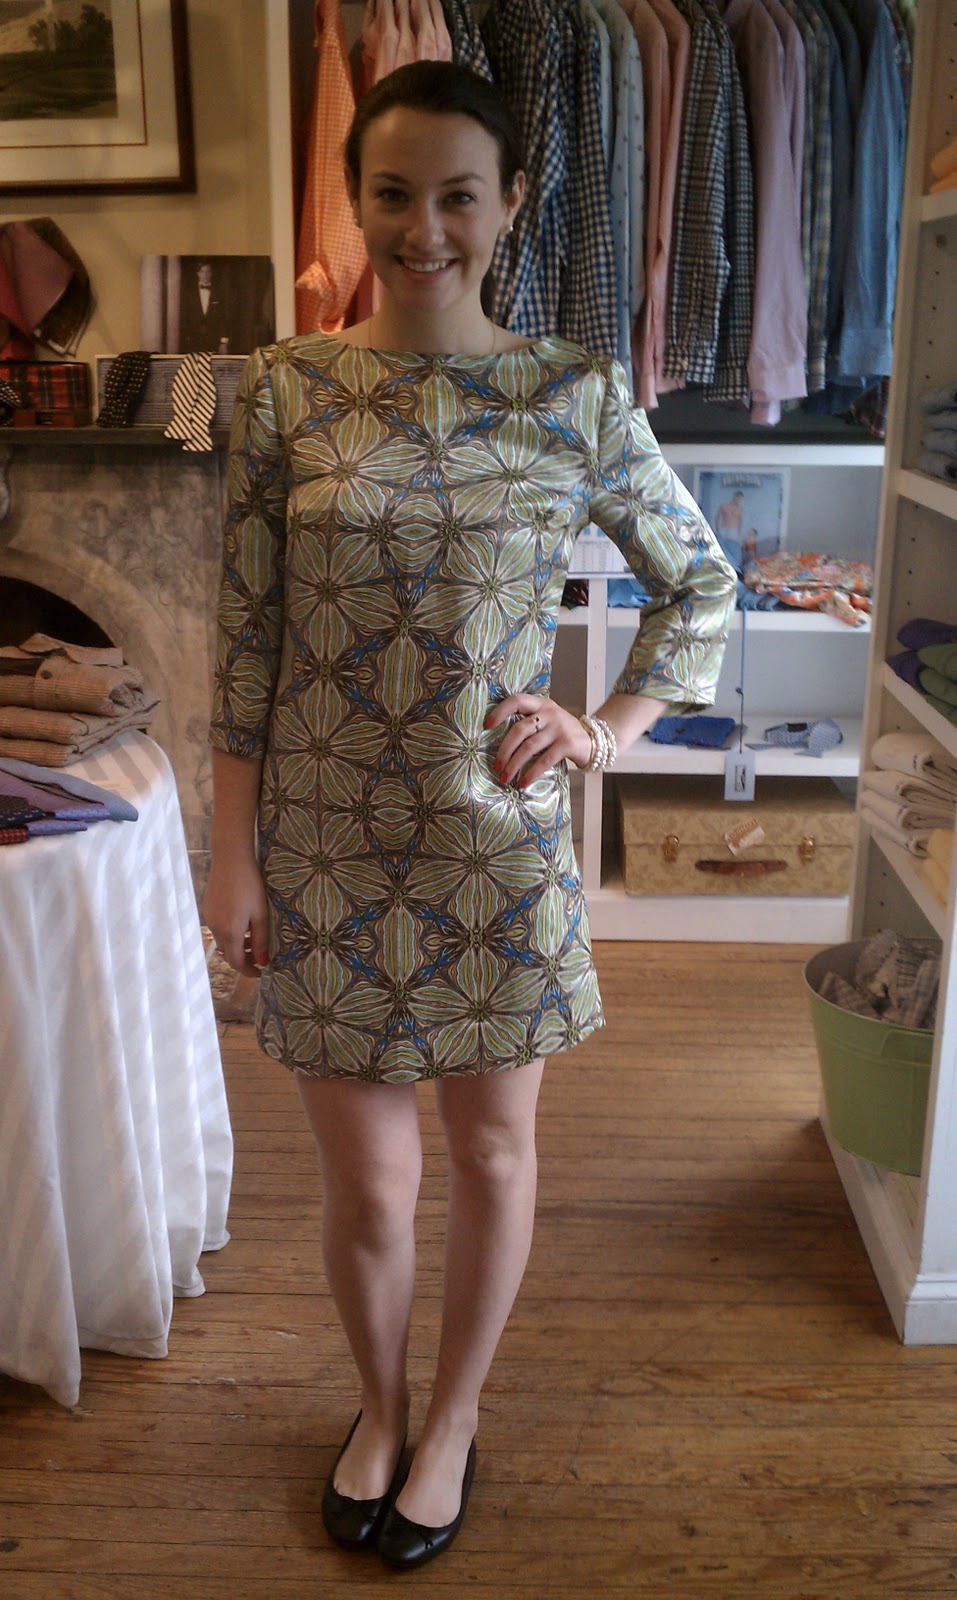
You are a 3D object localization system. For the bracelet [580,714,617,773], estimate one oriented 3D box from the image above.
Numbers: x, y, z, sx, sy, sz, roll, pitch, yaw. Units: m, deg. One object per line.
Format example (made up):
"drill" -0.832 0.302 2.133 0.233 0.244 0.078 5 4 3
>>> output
"bracelet" 0.105 -0.059 1.156 0.017 0.041 0.044 -6 37 -3

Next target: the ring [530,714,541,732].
"ring" 0.048 -0.065 1.054 0.009 0.011 0.004 -18 11 -37

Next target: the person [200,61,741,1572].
"person" 0.000 0.056 1.148 0.478 1.334 0.264 0 7 -6

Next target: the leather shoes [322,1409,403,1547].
"leather shoes" -0.125 0.734 1.341 0.069 0.035 0.155 4 23 11
